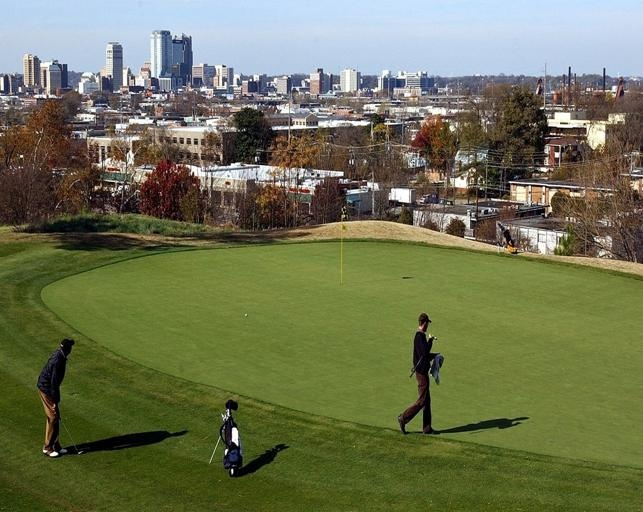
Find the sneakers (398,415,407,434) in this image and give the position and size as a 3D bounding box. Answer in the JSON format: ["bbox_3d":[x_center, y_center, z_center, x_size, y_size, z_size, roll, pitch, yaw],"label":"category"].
[{"bbox_3d":[1.770,3.681,24.556,0.126,0.405,0.167,-9,12,-19],"label":"sneakers"}]

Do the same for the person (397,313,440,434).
[{"bbox_3d":[2.190,2.599,24.922,0.791,2.587,1.524,3,15,6],"label":"person"}]

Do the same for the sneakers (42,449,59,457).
[{"bbox_3d":[-5.440,4.060,23.220,0.320,0.132,0.120,1,4,37],"label":"sneakers"}]
